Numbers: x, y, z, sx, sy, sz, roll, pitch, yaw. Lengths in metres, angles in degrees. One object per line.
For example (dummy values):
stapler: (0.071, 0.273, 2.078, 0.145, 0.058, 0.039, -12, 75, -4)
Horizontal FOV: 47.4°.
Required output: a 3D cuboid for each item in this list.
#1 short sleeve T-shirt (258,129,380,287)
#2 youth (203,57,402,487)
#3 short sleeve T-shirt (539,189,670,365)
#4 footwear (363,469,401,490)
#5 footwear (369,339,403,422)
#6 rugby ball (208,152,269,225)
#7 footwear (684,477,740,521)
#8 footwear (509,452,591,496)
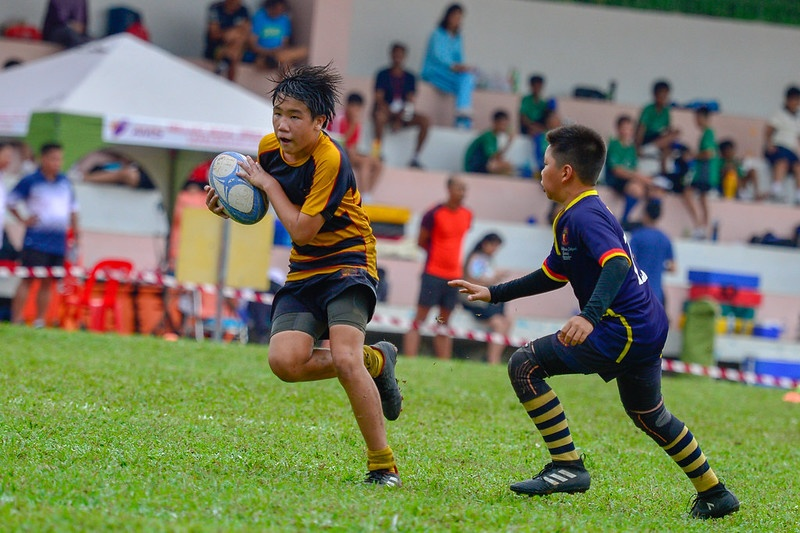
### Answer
short sleeve T-shirt: (-0.673, -0.423, 7.082, 0.962, 1.259, 0.919, 7, 7, 24)
youth: (-0.583, 0.002, 6.923, 1.316, 3.087, 0.719, 5, 5, 0)
short sleeve T-shirt: (1.587, 0.080, 7.114, 0.730, 1.316, 1.073, -1, -2, -11)
footwear: (-0.131, 1.584, 6.777, 0.121, 0.128, 0.256, -2, -17, 32)
footwear: (-0.108, 0.918, 7.306, 0.196, 0.654, 0.277, -1, 11, 21)
rugby ball: (-1.240, -0.626, 7.125, 0.349, 0.582, 0.381, -39, 3, 3)
footwear: (2.358, 1.821, 6.952, 0.459, 0.226, 0.169, -35, -8, 37)
footwear: (1.186, 1.627, 7.052, 0.670, 0.313, 0.248, 1, -9, -6)
